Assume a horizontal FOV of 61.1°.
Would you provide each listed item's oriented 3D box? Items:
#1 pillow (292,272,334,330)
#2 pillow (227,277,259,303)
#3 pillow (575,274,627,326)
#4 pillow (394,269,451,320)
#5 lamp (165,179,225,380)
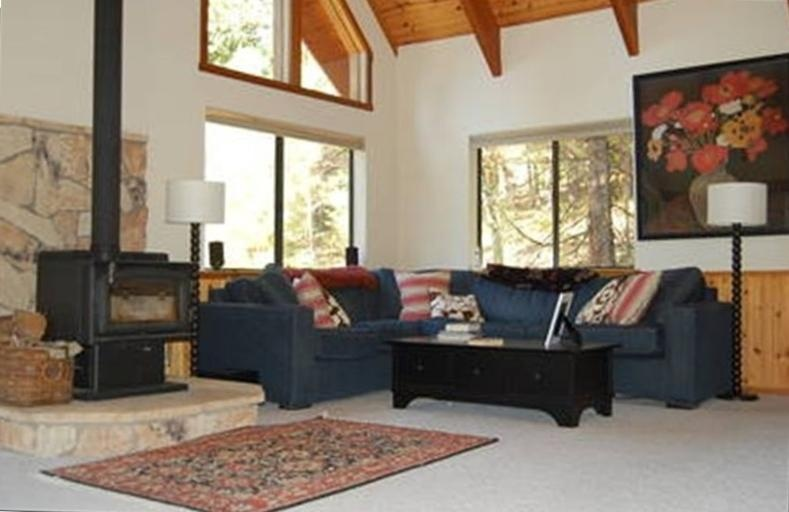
[{"bbox_3d":[-0.809,0.403,6.018,0.505,0.229,0.848,10,16,-6],"label":"pillow"},{"bbox_3d":[-1.305,0.273,5.657,0.238,0.202,0.215,1,2,21],"label":"pillow"},{"bbox_3d":[1.794,0.285,5.853,0.488,0.235,0.103,13,5,16],"label":"pillow"},{"bbox_3d":[0.259,0.385,6.442,0.482,0.412,0.171,-2,-20,-1],"label":"pillow"},{"bbox_3d":[-1.644,0.159,5.505,0.452,1.632,1.019,0,3,-18],"label":"lamp"}]
